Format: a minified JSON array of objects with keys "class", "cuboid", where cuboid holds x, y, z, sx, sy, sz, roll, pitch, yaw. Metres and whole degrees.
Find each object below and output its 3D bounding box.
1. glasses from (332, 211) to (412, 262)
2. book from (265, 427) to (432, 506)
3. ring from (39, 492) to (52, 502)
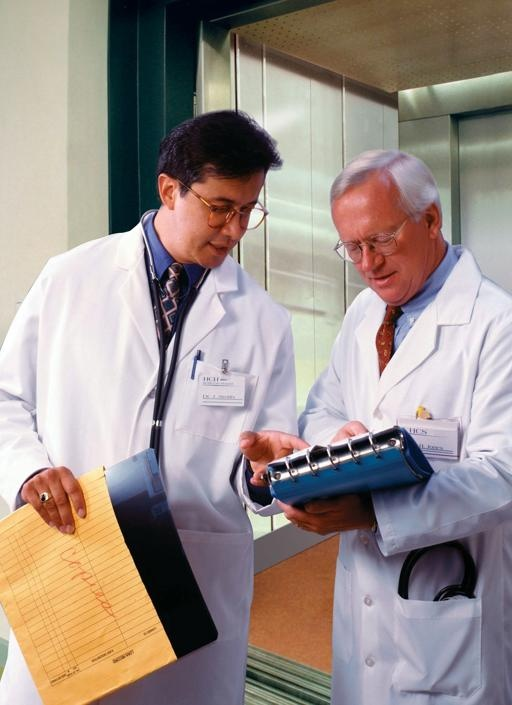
[{"class":"glasses","cuboid":[0.298,-0.263,1.653,0.104,0.032,0.108,-8,24,47]},{"class":"book","cuboid":[0.148,0.220,1.187,0.198,0.060,0.195,-19,-17,17]},{"class":"ring","cuboid":[-0.364,0.252,1.237,0.013,0.009,0.016,-14,-15,-5]}]
